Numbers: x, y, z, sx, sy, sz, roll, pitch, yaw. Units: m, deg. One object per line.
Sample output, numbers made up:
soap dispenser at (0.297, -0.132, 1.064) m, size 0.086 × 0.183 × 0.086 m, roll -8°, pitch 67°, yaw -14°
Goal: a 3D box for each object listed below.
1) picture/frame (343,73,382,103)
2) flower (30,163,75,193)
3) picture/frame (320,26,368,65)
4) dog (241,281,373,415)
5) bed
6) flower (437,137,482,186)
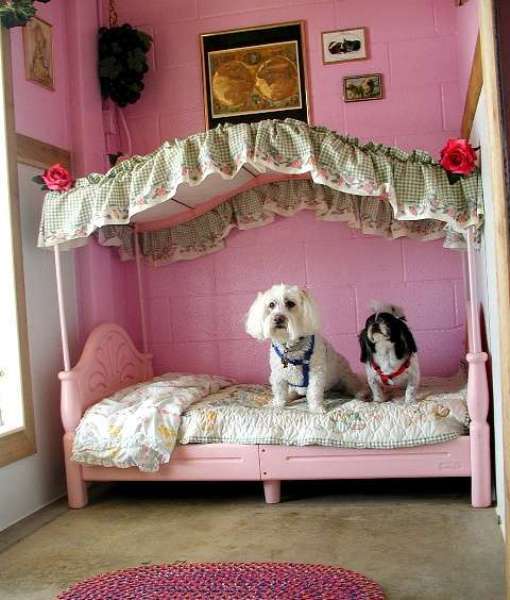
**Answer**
picture/frame at (0.724, -1.397, 3.950) m, size 0.255 × 0.145 × 0.017 m, roll -1°, pitch -5°, yaw 9°
flower at (-1.034, -0.629, 3.131) m, size 0.220 × 0.176 × 0.097 m, roll -4°, pitch 7°, yaw -2°
picture/frame at (0.610, -1.689, 3.977) m, size 0.341 × 0.195 × 0.012 m, roll -1°, pitch 1°, yaw 8°
dog at (0.319, 0.278, 3.347) m, size 0.832 × 0.620 × 0.528 m, roll 6°, pitch -9°, yaw -43°
bed at (0.136, 0.022, 3.371) m, size 2.212 × 1.930 × 1.441 m, roll -5°, pitch 0°, yaw 15°
flower at (0.921, -0.614, 2.651) m, size 0.194 × 0.200 × 0.144 m, roll -5°, pitch 0°, yaw 0°
